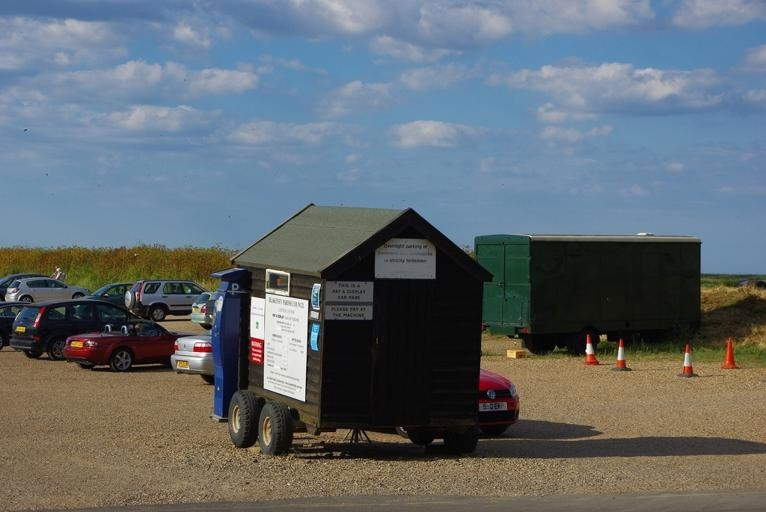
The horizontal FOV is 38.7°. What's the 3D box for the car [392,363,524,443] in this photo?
[{"bbox_3d":[1.574,3.296,23.906,1.256,1.218,2.672,3,-9,-29],"label":"car"}]
